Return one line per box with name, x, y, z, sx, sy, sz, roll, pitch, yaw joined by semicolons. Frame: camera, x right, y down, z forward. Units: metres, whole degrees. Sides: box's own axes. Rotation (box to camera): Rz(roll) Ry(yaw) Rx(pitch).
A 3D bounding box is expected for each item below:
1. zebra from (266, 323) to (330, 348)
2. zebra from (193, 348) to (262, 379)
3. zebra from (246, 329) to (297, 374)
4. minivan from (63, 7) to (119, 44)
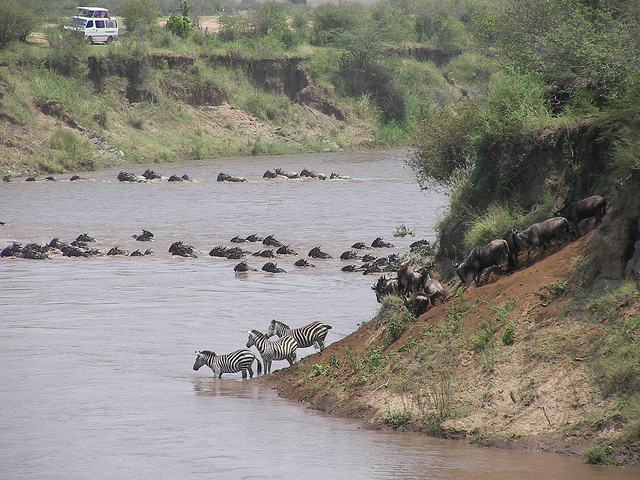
zebra;-0.626;3.742;53.948;2.834;1.487;0.882;-1;-10;11
zebra;-3.562;4.851;53.179;2.608;1.248;0.720;-2;8;7
zebra;-1.894;4.382;53.979;1.801;1.604;1.859;1;3;-4
minivan;-19.959;-17.837;116.432;2.176;3.839;5.957;9;13;41
